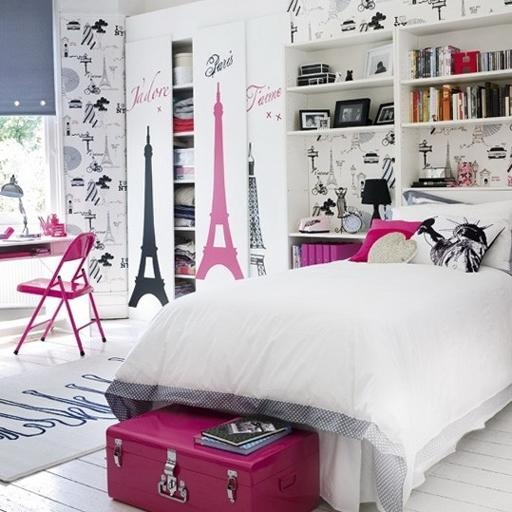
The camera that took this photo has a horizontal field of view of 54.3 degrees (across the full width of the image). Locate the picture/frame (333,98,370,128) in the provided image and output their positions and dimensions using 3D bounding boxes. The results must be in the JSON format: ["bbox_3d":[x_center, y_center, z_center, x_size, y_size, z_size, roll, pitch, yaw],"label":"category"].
[{"bbox_3d":[0.704,-1.048,3.671,0.327,0.256,0.036,1,-9,31],"label":"picture/frame"}]

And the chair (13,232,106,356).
[{"bbox_3d":[-1.522,0.265,3.888,0.635,0.876,0.835,-3,5,-16],"label":"chair"}]

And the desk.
[{"bbox_3d":[-1.511,0.254,3.833,0.607,0.838,0.519,0,4,-6],"label":"desk"}]

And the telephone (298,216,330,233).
[{"bbox_3d":[0.462,-0.249,3.890,0.209,0.085,0.125,-5,8,-38],"label":"telephone"}]

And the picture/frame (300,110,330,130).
[{"bbox_3d":[0.445,-1.039,3.811,0.224,0.144,0.017,0,0,8],"label":"picture/frame"}]

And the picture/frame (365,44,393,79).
[{"bbox_3d":[0.860,-1.392,3.532,0.175,0.280,0.227,-1,5,9],"label":"picture/frame"}]
